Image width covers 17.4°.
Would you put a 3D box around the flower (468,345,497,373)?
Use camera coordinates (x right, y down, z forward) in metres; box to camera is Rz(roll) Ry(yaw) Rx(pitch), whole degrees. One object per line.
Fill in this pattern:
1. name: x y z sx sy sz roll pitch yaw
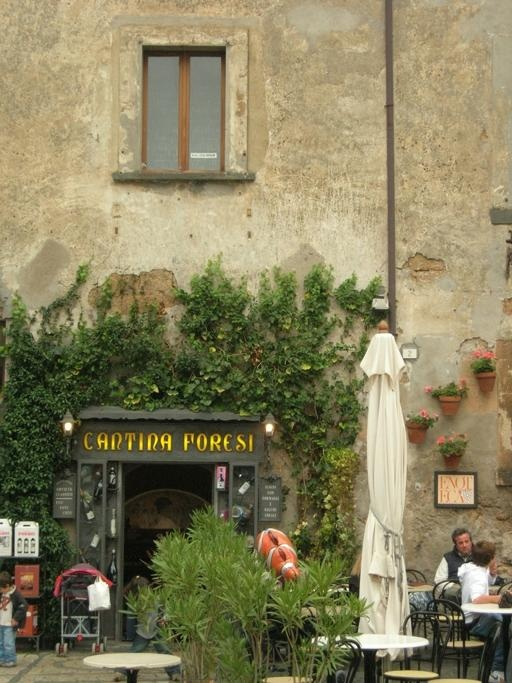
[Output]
1. flower: 2.453 0.211 18.216 0.271 0.279 0.231 1 -10 -3

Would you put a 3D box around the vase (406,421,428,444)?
1. vase: 1.727 0.995 18.220 0.240 0.271 0.206 2 -12 2

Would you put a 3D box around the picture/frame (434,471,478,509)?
1. picture/frame: 2.141 1.620 18.155 0.353 0.336 0.039 1 -9 -2

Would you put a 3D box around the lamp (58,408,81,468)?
1. lamp: -2.018 1.045 18.061 0.208 0.610 0.336 0 -6 -6

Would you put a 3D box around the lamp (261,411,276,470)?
1. lamp: 0.131 1.090 18.086 0.143 0.595 0.405 -1 -6 -1

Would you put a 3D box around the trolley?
1. trolley: -1.865 2.762 17.424 0.744 1.199 0.829 0 -4 -4

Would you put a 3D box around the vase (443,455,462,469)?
1. vase: 2.103 1.298 18.096 0.159 0.143 0.151 0 -10 1

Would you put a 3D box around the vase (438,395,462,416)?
1. vase: 2.092 0.687 18.177 0.203 0.180 0.215 0 -12 4

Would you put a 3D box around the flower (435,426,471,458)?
1. flower: 2.112 1.095 18.102 0.256 0.201 0.264 4 -9 -21

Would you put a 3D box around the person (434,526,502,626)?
1. person: 2.101 2.419 16.782 0.525 1.088 0.636 6 -6 -17

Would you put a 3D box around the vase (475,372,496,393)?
1. vase: 2.468 0.443 18.174 0.191 0.230 0.202 0 -5 -2
